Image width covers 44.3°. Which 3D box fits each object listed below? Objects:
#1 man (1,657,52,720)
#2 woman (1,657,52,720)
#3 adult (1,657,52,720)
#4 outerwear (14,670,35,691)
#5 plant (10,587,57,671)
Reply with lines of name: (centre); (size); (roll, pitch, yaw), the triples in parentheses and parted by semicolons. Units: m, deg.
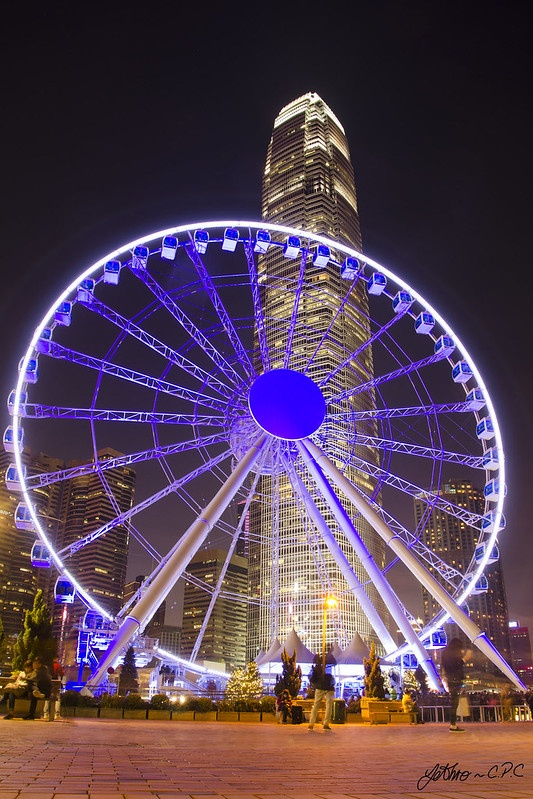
man: (-5.858, 7.211, 16.082); (1.106, 1.314, 2.156); (12, -26, -15)
woman: (-5.852, 7.203, 16.063); (1.106, 1.314, 2.151); (12, -26, -15)
adult: (-5.856, 7.208, 16.074); (1.107, 1.314, 2.106); (12, -26, -14)
outerwear: (-5.781, 6.898, 15.924); (0.354, 0.434, 0.764); (23, -31, -33)
plant: (-10.383, 10.550, 30.124); (1.722, 3.703, 5.092); (13, -26, -16)
